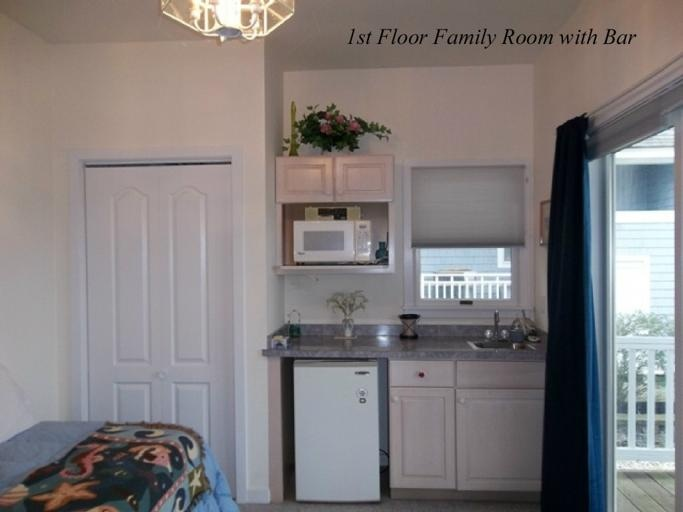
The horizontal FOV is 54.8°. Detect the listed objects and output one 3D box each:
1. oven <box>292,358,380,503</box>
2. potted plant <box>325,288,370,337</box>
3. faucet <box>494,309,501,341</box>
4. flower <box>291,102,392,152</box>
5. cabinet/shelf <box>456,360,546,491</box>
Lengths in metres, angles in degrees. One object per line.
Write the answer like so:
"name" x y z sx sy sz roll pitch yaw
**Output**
"oven" -0.028 1.275 5.055 0.667 1.026 0.673 -1 -2 9
"potted plant" 0.050 0.459 5.348 0.368 0.428 0.327 -1 -2 11
"faucet" 1.223 0.547 5.194 0.054 0.228 0.182 0 0 14
"flower" -0.038 -1.003 5.220 0.806 0.452 0.367 1 0 -3
"cabinet/shelf" 1.136 1.267 5.129 0.792 1.274 0.798 0 -5 5
